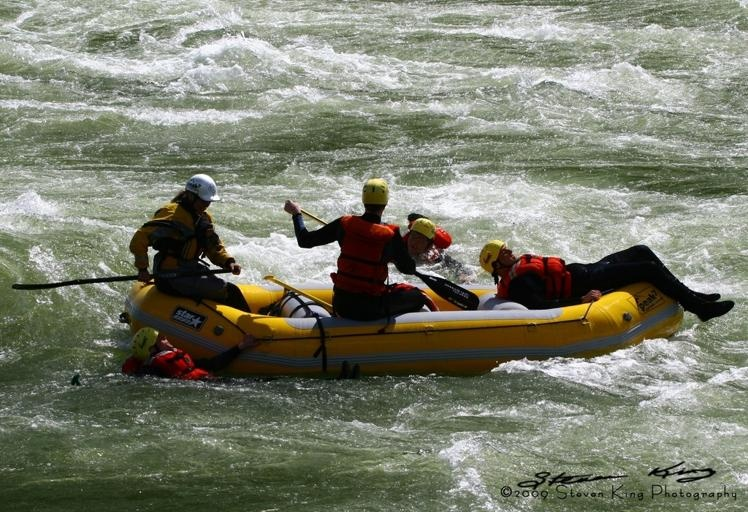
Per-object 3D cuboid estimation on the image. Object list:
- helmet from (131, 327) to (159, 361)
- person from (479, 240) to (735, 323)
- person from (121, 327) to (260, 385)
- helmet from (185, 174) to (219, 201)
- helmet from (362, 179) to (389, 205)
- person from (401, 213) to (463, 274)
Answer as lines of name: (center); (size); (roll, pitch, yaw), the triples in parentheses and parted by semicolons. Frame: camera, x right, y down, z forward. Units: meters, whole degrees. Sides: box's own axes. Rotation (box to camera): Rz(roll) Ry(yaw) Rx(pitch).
helmet: (-3.177, 1.211, 15.679); (0.344, 0.450, 0.289); (8, 23, 17)
person: (3.070, 0.339, 16.878); (4.717, 0.877, 1.201); (1, 20, -1)
person: (-2.632, 1.384, 15.703); (1.576, 0.385, 0.839); (-3, 8, -2)
helmet: (-2.401, -0.974, 15.998); (0.725, 0.249, 0.389); (11, 16, 5)
helmet: (0.027, -0.857, 15.493); (0.343, 0.412, 0.302); (0, 21, -2)
person: (0.823, -0.231, 17.236); (0.933, 0.372, 1.128); (18, -5, 19)
